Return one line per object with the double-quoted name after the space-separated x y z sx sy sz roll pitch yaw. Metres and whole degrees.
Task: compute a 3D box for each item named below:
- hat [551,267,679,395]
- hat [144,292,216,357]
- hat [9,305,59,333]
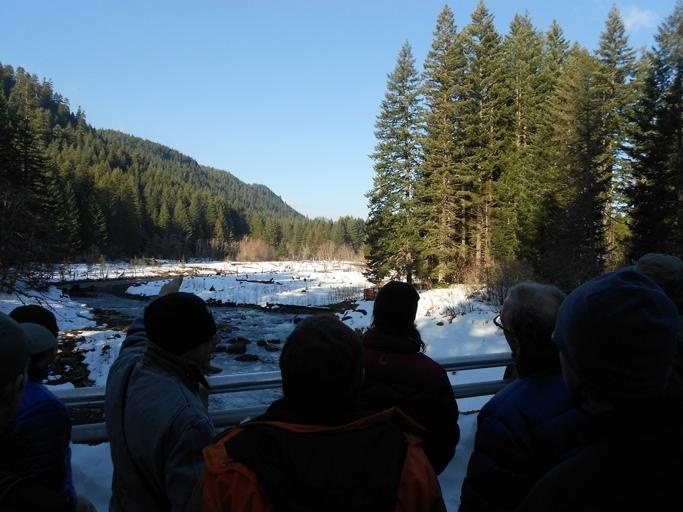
0.944 0.284 1.826 0.328 0.443 0.463 3 -15 19 "hat"
-0.917 0.367 2.839 0.396 0.359 0.339 1 -1 -32 "hat"
-1.950 0.373 3.263 0.222 0.168 0.311 9 -16 4 "hat"
